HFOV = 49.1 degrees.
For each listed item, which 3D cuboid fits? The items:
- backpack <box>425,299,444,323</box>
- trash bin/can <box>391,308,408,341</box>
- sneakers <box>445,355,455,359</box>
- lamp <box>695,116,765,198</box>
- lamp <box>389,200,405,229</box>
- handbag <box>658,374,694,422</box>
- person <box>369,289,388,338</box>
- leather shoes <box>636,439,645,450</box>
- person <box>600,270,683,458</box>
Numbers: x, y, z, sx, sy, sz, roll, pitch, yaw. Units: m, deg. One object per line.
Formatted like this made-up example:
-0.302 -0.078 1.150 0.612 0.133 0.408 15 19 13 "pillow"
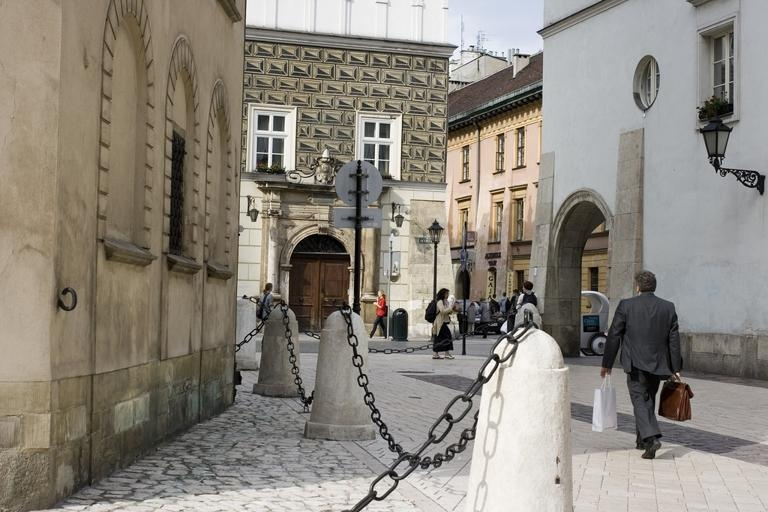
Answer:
1.358 1.608 24.036 0.374 0.627 0.591 2 0 -2 "backpack"
0.604 2.748 32.827 0.554 1.164 0.369 2 0 -6 "trash bin/can"
1.938 3.059 25.161 0.119 0.115 0.298 -23 19 -35 "sneakers"
7.929 -2.275 19.422 1.789 1.847 1.150 2 0 -43 "lamp"
0.569 -1.645 35.424 0.591 1.069 0.450 2 0 -14 "lamp"
3.762 1.870 10.934 0.393 0.615 0.404 2 0 20 "handbag"
-0.207 2.416 34.411 0.694 1.759 1.515 2 0 -1 "person"
3.326 2.482 10.970 0.131 0.147 0.109 -11 -12 42 "leather shoes"
3.467 1.408 11.246 0.980 2.547 0.997 1 0 -36 "person"
